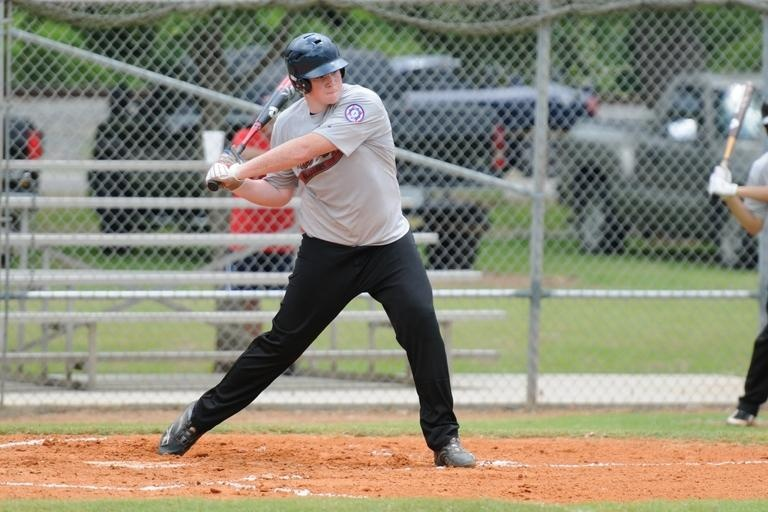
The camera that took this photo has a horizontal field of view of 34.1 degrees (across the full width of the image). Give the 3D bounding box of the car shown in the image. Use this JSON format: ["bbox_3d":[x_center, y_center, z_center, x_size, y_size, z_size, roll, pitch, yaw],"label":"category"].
[{"bbox_3d":[-0.391,-0.715,11.394,4.406,1.674,2.169,1,1,-9],"label":"car"}]

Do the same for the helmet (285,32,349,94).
[{"bbox_3d":[-0.477,-1.245,8.137,0.358,0.298,0.441,-16,23,-39],"label":"helmet"}]

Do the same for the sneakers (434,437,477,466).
[{"bbox_3d":[0.452,1.332,8.384,0.332,0.145,0.145,-5,-7,42],"label":"sneakers"}]

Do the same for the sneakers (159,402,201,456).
[{"bbox_3d":[-1.430,1.212,8.678,0.143,0.401,0.167,43,10,-46],"label":"sneakers"}]

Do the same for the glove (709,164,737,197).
[{"bbox_3d":[2.500,-0.552,9.251,0.207,0.221,0.281,3,12,11],"label":"glove"}]

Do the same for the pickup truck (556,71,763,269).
[{"bbox_3d":[3.028,-0.860,11.379,2.543,1.266,1.397,3,0,-7],"label":"pickup truck"}]
